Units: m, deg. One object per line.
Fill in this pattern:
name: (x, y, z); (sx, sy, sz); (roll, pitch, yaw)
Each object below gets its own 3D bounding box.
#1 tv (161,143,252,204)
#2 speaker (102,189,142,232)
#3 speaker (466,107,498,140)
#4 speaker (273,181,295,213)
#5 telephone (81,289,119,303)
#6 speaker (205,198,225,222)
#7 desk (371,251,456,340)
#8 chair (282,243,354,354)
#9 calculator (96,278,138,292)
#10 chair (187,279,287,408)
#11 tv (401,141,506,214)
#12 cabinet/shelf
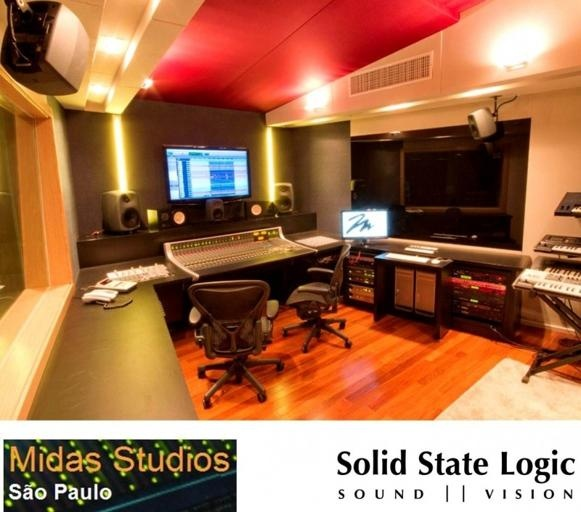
tv: (-0.802, -0.827, 4.354); (0.134, 0.534, 1.021); (13, 18, 38)
speaker: (-1.456, -0.381, 3.692); (0.309, 0.331, 0.293); (-11, 17, -38)
speaker: (1.574, -1.095, 3.554); (0.186, 0.230, 0.184); (-15, 16, 29)
speaker: (-0.072, -0.690, 4.988); (0.214, 0.323, 0.557); (1, 14, -3)
telephone: (-1.171, 0.250, 2.650); (0.118, 0.030, 0.114); (0, 14, -12)
speaker: (-0.716, -0.447, 4.162); (0.205, 0.244, 0.181); (3, 6, 44)
desk: (1.166, 0.372, 3.986); (0.334, 0.717, 0.744); (-3, 5, -43)
chair: (0.216, 0.342, 3.717); (0.620, 0.767, 0.651); (-1, 11, 2)
calculator: (-1.163, 0.196, 2.859); (0.192, 0.042, 0.111); (5, 17, 14)
chair: (-0.351, 0.474, 2.953); (0.640, 0.871, 0.554); (-8, 22, -15)
tv: (1.523, -0.763, 4.243); (1.041, 0.598, 0.037); (-5, 10, -23)
cabinet/shelf: (1.325, 0.280, 4.094); (1.580, 0.744, 0.834); (13, 18, 38)
